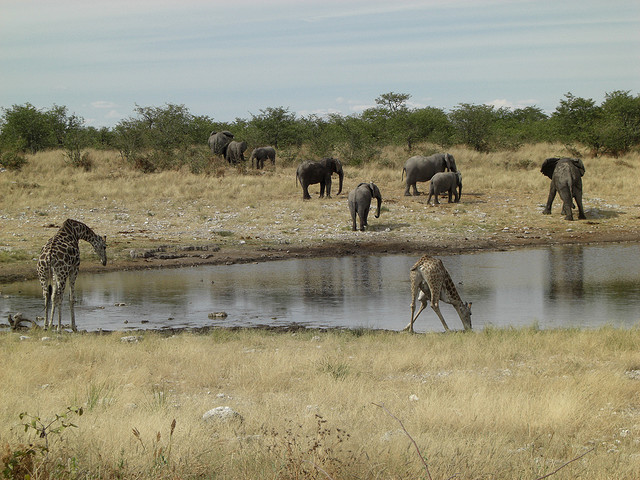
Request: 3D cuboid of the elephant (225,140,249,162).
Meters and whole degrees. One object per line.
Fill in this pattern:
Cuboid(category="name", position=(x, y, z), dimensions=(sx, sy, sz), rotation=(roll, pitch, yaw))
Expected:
Cuboid(category="elephant", position=(-5.060, -5.274, 60.671), dimensions=(1.177, 1.355, 2.827), rotation=(-3, 3, -7))

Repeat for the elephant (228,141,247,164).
Cuboid(category="elephant", position=(-4.924, -5.214, 60.204), dimensions=(0.814, 1.191, 1.891), rotation=(-4, 3, -22))

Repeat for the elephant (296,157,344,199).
Cuboid(category="elephant", position=(-0.179, -2.543, 45.026), dimensions=(1.742, 1.961, 1.648), rotation=(-12, 15, -37))

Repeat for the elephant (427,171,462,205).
Cuboid(category="elephant", position=(5.355, -2.247, 43.146), dimensions=(2.186, 1.346, 0.874), rotation=(-7, 10, -41))

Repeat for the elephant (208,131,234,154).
Cuboid(category="elephant", position=(-6.259, -6.075, 63.320), dimensions=(1.224, 1.345, 1.901), rotation=(-4, 3, -33))

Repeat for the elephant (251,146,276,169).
Cuboid(category="elephant", position=(-3.295, -4.760, 58.570), dimensions=(1.333, 1.228, 3.199), rotation=(-3, 3, -2))

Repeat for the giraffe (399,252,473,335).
Cuboid(category="giraffe", position=(2.661, 1.241, 23.711), dimensions=(1.617, 1.781, 1.144), rotation=(-3, 3, -4))

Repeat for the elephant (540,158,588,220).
Cuboid(category="elephant", position=(9.922, -2.168, 41.600), dimensions=(1.570, 2.266, 3.753), rotation=(-2, 11, 1))
